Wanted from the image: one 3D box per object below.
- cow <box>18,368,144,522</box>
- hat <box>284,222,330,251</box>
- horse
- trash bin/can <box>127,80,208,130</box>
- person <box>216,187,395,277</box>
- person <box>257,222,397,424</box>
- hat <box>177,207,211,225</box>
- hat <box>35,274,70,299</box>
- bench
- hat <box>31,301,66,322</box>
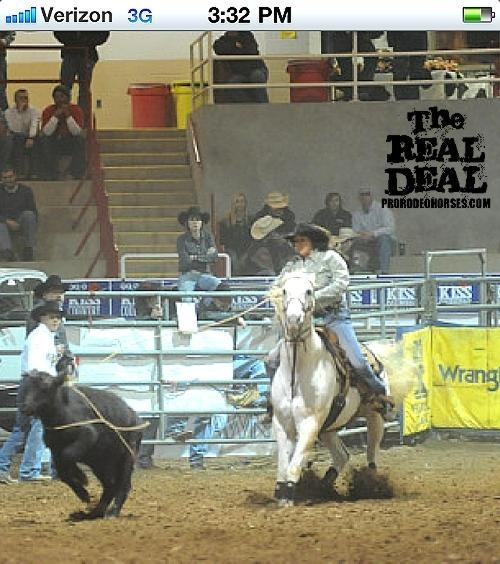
[{"bbox_3d":[-1.675,1.624,15.474,1.273,1.462,0.353,-3,0,-36],"label":"cow"},{"bbox_3d":[0.621,-0.496,16.466,0.474,0.295,0.334,-3,0,2],"label":"hat"},{"bbox_3d":[0.649,1.085,16.213,0.770,2.399,1.673,-3,0,16],"label":"horse"},{"bbox_3d":[-1.631,-3.610,30.922,1.285,0.860,1.351,0,-3,-5],"label":"trash bin/can"},{"bbox_3d":[1.170,-0.874,26.266,2.470,1.193,1.488,1,-2,-2],"label":"person"},{"bbox_3d":[0.879,0.443,16.572,1.082,2.259,0.828,-5,5,1],"label":"person"},{"bbox_3d":[-0.844,-1.042,22.092,0.315,0.102,0.320,-11,-17,39],"label":"hat"},{"bbox_3d":[-2.286,0.018,17.214,0.255,0.123,0.305,18,-36,-42],"label":"hat"},{"bbox_3d":[-3.437,-0.977,26.959,2.756,1.521,1.795,0,10,-7],"label":"bench"},{"bbox_3d":[-2.246,0.305,16.883,0.361,0.216,0.307,-3,-1,-10],"label":"hat"}]
